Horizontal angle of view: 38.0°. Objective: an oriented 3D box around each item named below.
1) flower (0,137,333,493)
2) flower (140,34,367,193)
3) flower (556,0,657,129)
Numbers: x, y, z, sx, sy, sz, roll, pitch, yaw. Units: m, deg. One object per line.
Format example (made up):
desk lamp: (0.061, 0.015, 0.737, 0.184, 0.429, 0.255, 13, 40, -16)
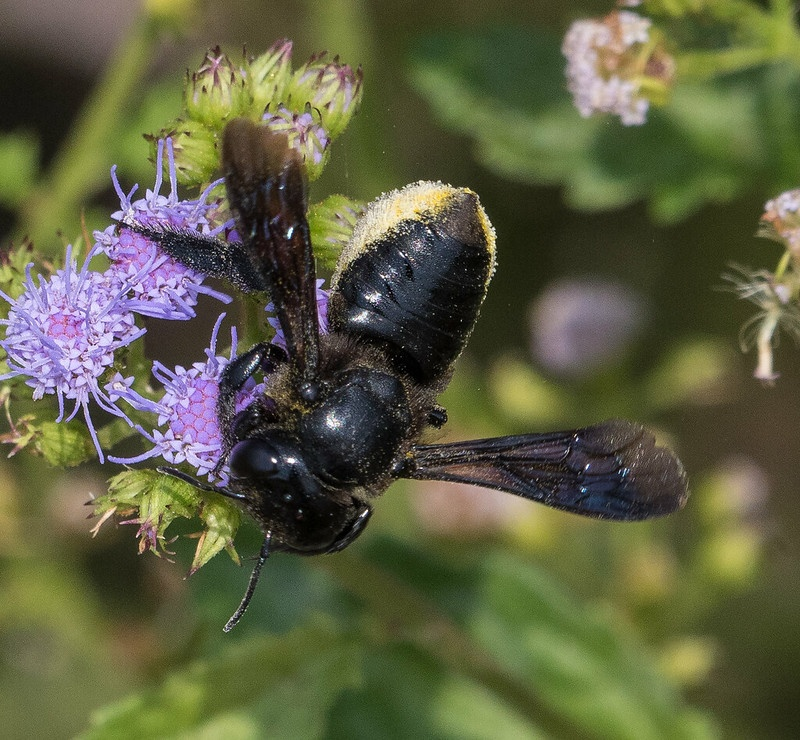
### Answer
flower: (-0.399, -0.111, 2.010, 0.512, 0.174, 0.530, 38, 94, -4)
flower: (-0.217, -0.440, 1.909, 0.315, 0.236, 0.098, -30, 40, 28)
flower: (0.399, -0.582, 2.234, 0.154, 0.162, 0.207, 3, 74, -3)
